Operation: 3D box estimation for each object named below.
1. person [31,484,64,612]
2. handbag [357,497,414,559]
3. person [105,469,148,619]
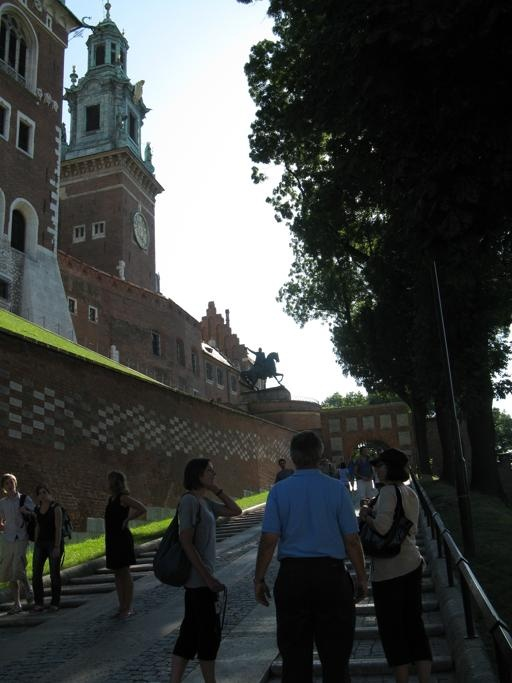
[{"bbox_3d":[-2.847,2.827,7.192,0.402,1.617,0.919,1,-13,-25],"label":"person"},{"bbox_3d":[0.787,1.120,3.200,0.177,0.505,0.358,18,-15,-24],"label":"handbag"},{"bbox_3d":[-1.546,2.350,6.160,0.440,1.650,0.747,-1,-12,-18],"label":"person"}]
